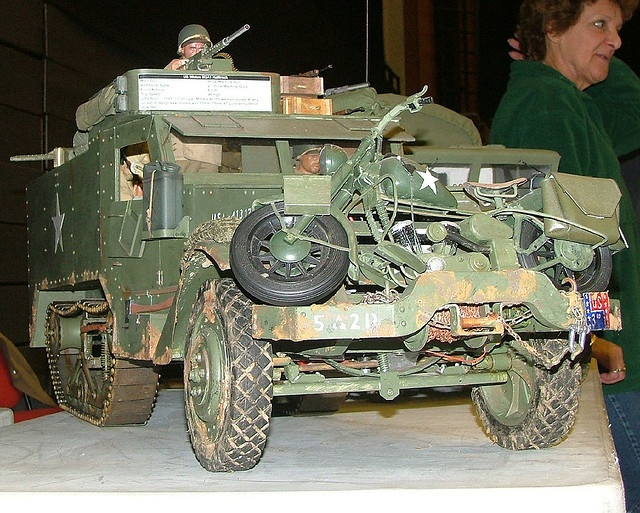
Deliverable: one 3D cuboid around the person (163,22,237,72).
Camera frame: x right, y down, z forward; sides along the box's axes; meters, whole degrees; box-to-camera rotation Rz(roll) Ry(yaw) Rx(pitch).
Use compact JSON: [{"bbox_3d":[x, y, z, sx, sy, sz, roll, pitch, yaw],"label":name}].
[{"bbox_3d":[-1.087,-1.914,6.770,0.493,0.507,0.810,-6,-1,-23],"label":"person"}]
